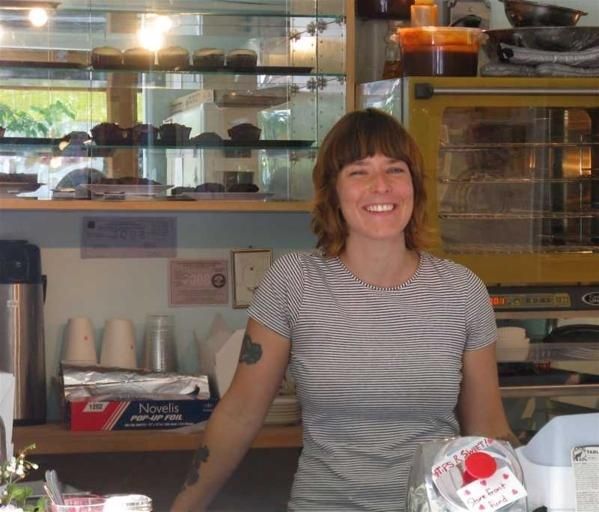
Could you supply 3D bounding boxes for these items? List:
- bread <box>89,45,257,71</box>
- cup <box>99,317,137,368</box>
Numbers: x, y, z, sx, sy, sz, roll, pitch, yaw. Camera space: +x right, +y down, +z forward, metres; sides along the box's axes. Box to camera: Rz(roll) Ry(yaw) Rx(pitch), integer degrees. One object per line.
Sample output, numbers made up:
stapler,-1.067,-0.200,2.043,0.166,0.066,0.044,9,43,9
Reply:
bread,-0.414,-0.614,2.130,0.520,0.063,0.075,0,-4,-4
cup,-0.629,0.297,2.356,0.125,0.163,0.214,-4,5,-13
